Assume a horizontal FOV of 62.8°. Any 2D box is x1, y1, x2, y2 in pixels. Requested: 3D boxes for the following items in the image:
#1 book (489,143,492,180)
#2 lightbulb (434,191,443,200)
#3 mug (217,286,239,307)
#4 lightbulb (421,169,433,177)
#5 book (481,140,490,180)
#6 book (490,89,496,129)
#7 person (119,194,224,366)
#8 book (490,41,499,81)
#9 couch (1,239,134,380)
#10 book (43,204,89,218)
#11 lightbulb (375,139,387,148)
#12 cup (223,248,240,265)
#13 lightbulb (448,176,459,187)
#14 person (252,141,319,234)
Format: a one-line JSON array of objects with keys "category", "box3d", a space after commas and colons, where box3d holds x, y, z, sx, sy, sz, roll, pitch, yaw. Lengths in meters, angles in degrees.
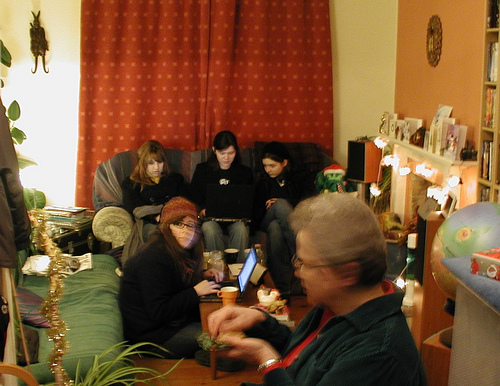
[{"category": "book", "box3d": [1.469, -0.194, 2.488, 0.011, 0.218, 0.102, 2, 11, 24]}, {"category": "lightbulb", "box3d": [1.287, 0.008, 2.784, 0.050, 0.051, 0.112, 2, 12, 21]}, {"category": "mug", "box3d": [-0.121, 0.572, 2.359, 0.136, 0.143, 0.121, -3, 13, -11]}, {"category": "lightbulb", "box3d": [1.404, -0.158, 3.225, 0.081, 0.074, 0.090, -9, 13, -32]}, {"category": "book", "box3d": [1.478, -0.204, 2.549, 0.024, 0.233, 0.056, -1, 10, 6]}, {"category": "book", "box3d": [1.476, -0.512, 2.478, 0.015, 0.237, 0.066, 2, 11, 24]}, {"category": "person", "box3d": [-0.450, 0.629, 2.537, 0.647, 1.188, 0.544, 1, 7, 2]}, {"category": "book", "box3d": [1.465, -0.796, 2.446, 0.040, 0.235, 0.132, 3, 12, 27]}, {"category": "couch", "box3d": [-0.886, 0.586, 1.985, 0.317, 0.335, 0.744, -2, 23, -10]}, {"category": "book", "box3d": [-1.760, 0.166, 3.844, 0.192, 0.052, 0.209, 6, 7, -3]}, {"category": "lightbulb", "box3d": [1.276, -0.489, 3.992, 0.102, 0.086, 0.091, 1, 11, 18]}, {"category": "cup", "box3d": [-0.154, 0.492, 3.153, 0.112, 0.135, 0.117, 2, 5, 0]}, {"category": "lightbulb", "box3d": [1.339, -0.079, 2.692, 0.037, 0.065, 0.064, -12, 14, -43]}, {"category": "person", "box3d": [0.338, -0.120, 3.970, 0.528, 0.683, 0.900, -2, 18, 5]}]
